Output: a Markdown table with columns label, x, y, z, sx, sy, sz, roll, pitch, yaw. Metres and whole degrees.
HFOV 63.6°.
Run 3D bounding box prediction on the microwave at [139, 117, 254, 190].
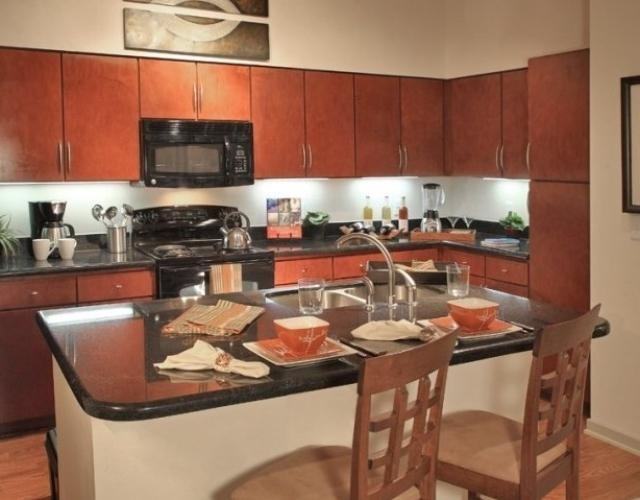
| label | x | y | z | sx | sy | sz | roll | pitch | yaw |
| --- | --- | --- | --- | --- | --- | --- | --- | --- | --- |
| microwave | -0.968 | -0.764 | 3.924 | 0.950 | 0.508 | 0.563 | -1 | 5 | -23 |

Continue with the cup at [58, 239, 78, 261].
| label | x | y | z | sx | sy | sz | roll | pitch | yaw |
| --- | --- | --- | --- | --- | --- | --- | --- | --- | --- |
| cup | -1.768 | -0.012 | 3.586 | 0.110 | 0.137 | 0.236 | -7 | 12 | -27 |

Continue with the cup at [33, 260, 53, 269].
| label | x | y | z | sx | sy | sz | roll | pitch | yaw |
| --- | --- | --- | --- | --- | --- | --- | --- | --- | --- |
| cup | -1.810 | 0.097 | 3.360 | 0.104 | 0.041 | 0.073 | 2 | 0 | -2 |

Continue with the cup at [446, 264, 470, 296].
| label | x | y | z | sx | sy | sz | roll | pitch | yaw |
| --- | --- | --- | --- | --- | --- | --- | --- | --- | --- |
| cup | 0.628 | 0.136 | 2.431 | 0.136 | 0.137 | 0.151 | 0 | 4 | 2 |

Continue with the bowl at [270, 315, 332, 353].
| label | x | y | z | sx | sy | sz | roll | pitch | yaw |
| --- | --- | --- | --- | --- | --- | --- | --- | --- | --- |
| bowl | -0.051 | 0.263 | 1.679 | 0.137 | 0.074 | 0.143 | -1 | 4 | 0 |

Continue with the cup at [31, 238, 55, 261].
| label | x | y | z | sx | sy | sz | roll | pitch | yaw |
| --- | --- | --- | --- | --- | --- | --- | --- | --- | --- |
| cup | -1.885 | -0.004 | 3.494 | 0.201 | 0.146 | 0.151 | 1 | 1 | -36 |

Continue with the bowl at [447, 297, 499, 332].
| label | x | y | z | sx | sy | sz | roll | pitch | yaw |
| --- | --- | --- | --- | --- | --- | --- | --- | --- | --- |
| bowl | 0.566 | 0.237 | 1.960 | 0.132 | 0.075 | 0.160 | -1 | 9 | -8 |

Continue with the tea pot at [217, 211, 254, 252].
| label | x | y | z | sx | sy | sz | roll | pitch | yaw |
| --- | --- | --- | --- | --- | --- | --- | --- | --- | --- |
| tea pot | -0.629 | -0.152 | 4.116 | 0.284 | 0.319 | 0.365 | -3 | 6 | -36 |

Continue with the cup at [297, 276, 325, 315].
| label | x | y | z | sx | sy | sz | roll | pitch | yaw |
| --- | --- | --- | --- | --- | --- | --- | --- | --- | --- |
| cup | -0.037 | 0.195 | 2.188 | 0.101 | 0.158 | 0.087 | -2 | 12 | -5 |
